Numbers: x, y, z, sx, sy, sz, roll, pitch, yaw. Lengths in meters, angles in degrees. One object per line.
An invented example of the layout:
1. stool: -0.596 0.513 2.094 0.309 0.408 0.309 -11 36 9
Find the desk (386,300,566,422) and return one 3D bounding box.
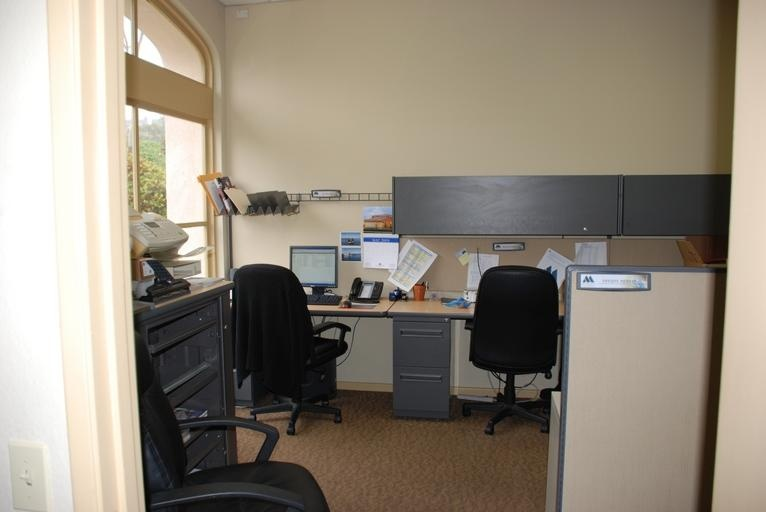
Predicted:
1. desk: 0.670 0.746 4.247 1.247 0.793 0.610 -1 11 -1

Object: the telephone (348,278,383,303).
1. telephone: -0.130 0.261 4.389 0.229 0.181 0.342 1 11 9

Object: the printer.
1. printer: -1.028 -0.074 2.573 0.453 0.227 0.350 18 9 4

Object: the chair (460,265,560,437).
1. chair: 0.863 0.604 3.910 0.662 1.079 0.652 1 3 18

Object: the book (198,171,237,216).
1. book: -1.232 -0.460 4.309 0.289 0.315 0.131 -7 13 -28

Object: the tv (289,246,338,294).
1. tv: -0.521 0.093 4.308 0.368 0.361 0.130 0 2 10

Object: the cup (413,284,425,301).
1. cup: 0.288 0.276 4.398 0.107 0.120 0.088 -5 12 -22
